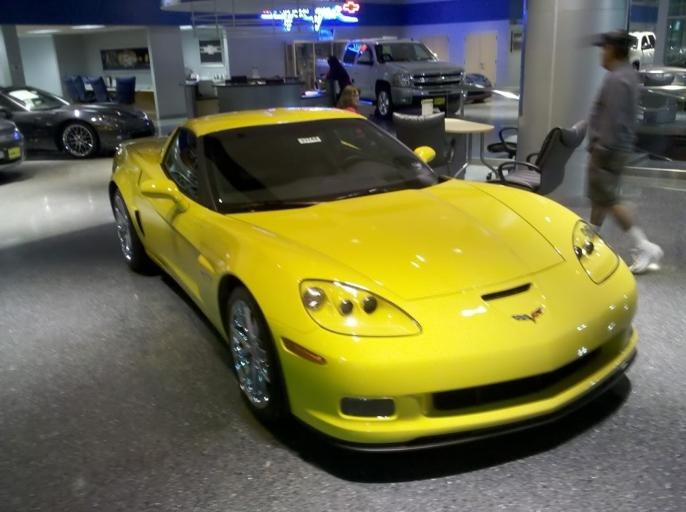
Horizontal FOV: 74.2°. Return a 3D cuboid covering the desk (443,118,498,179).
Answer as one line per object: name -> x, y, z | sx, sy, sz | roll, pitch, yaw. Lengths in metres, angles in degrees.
desk -> 2.221, -1.746, 7.063 | 0.491, 0.583, 0.873 | -16, 8, 41

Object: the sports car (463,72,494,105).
sports car -> 4.742, -5.873, 16.034 | 0.887, 0.973, 2.331 | 5, 23, 15

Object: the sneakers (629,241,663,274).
sneakers -> 2.585, 0.021, 3.888 | 0.343, 0.236, 0.162 | -17, 13, -25
